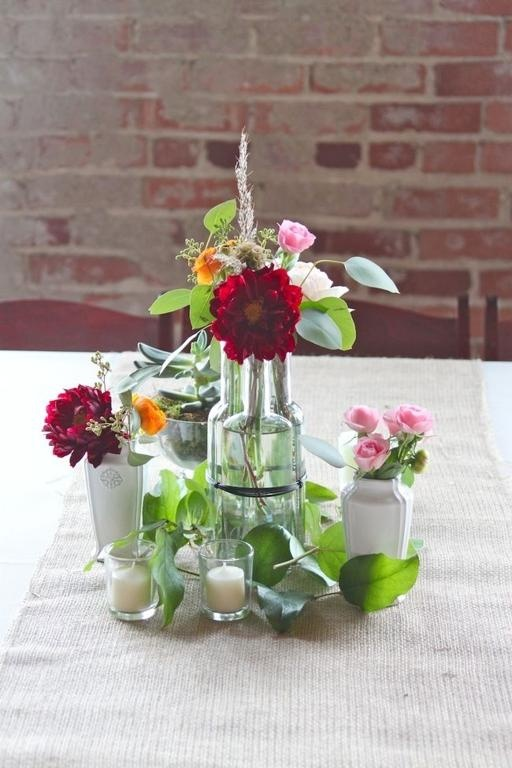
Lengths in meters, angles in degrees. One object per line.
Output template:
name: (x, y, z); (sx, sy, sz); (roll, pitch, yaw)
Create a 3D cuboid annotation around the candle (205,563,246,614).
candle: (-0.028, 0.185, 0.684); (0.040, 0.040, 0.038); (1, 0, 4)

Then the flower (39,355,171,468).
flower: (-0.143, 0.030, 0.756); (0.109, 0.056, 0.076); (3, 23, -23)

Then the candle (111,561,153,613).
candle: (-0.111, 0.184, 0.693); (0.048, 0.046, 0.045); (1, -2, -5)

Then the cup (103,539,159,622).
cup: (-0.105, 0.180, 0.688); (0.063, 0.059, 0.050); (-2, -3, 41)

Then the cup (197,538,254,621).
cup: (-0.033, 0.184, 0.686); (0.050, 0.050, 0.048); (0, -9, 0)

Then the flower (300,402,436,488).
flower: (0.107, 0.069, 0.710); (0.119, 0.080, 0.091); (-7, 13, 16)
